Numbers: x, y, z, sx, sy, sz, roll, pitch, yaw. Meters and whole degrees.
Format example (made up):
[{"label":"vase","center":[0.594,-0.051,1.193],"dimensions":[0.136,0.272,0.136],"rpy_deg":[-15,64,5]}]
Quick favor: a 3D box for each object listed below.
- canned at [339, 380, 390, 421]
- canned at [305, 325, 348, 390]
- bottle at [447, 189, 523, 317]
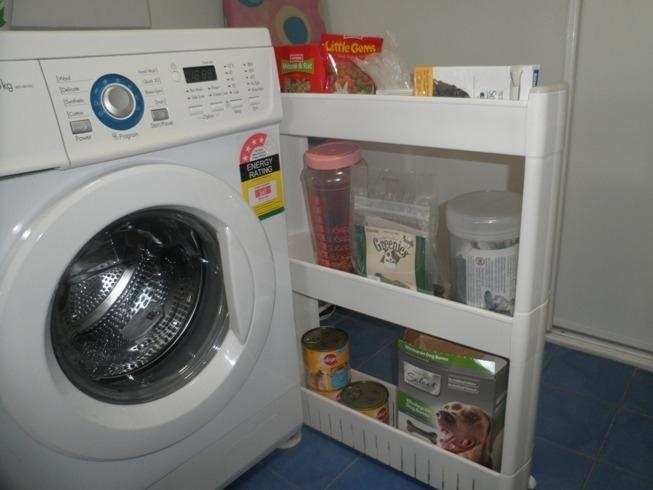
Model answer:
[{"label":"canned","center":[0.115,0.431,1.343],"dimensions":[0.108,0.123,0.114],"rpy_deg":[0,25,7]},{"label":"canned","center":[0.031,0.329,1.440],"dimensions":[0.148,0.171,0.160],"rpy_deg":[-1,29,5]},{"label":"bottle","center":[0.364,0.023,1.119],"dimensions":[0.164,0.224,0.245],"rpy_deg":[4,28,21]}]
